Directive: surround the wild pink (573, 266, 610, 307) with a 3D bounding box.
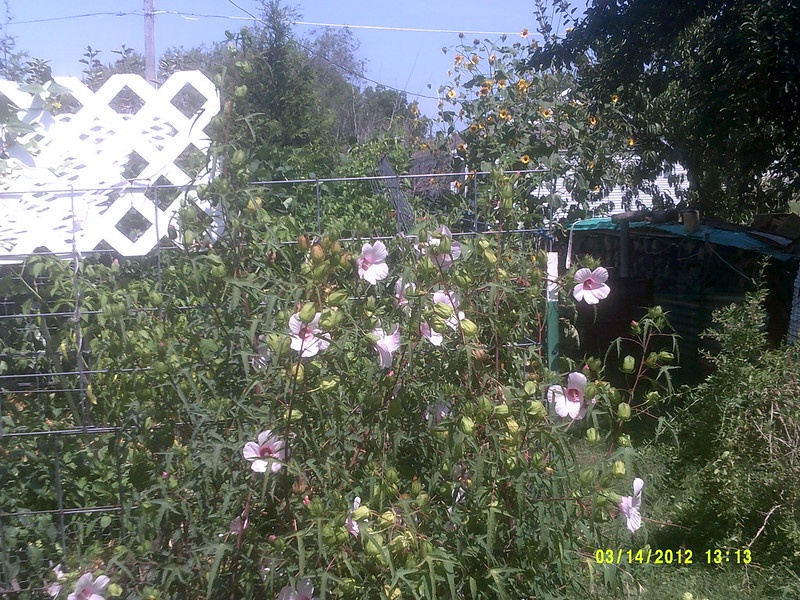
[{"bbox_3d":[0.695,-0.067,2.304,0.151,0.067,0.166,-28,12,2],"label":"wild pink"}]
